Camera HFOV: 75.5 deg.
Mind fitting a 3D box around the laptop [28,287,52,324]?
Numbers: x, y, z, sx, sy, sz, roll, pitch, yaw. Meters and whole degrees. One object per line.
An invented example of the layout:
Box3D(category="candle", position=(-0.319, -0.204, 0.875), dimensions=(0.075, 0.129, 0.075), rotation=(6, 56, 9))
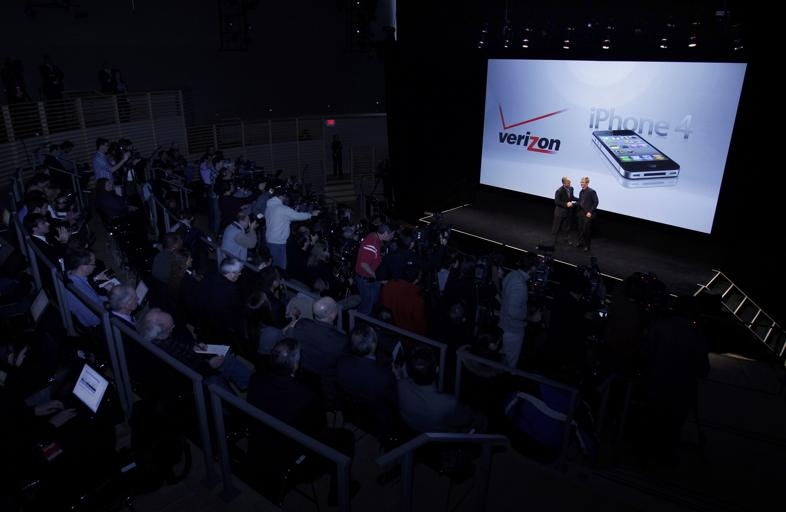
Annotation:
Box3D(category="laptop", position=(-4.520, 0.629, 6.500), dimensions=(0.085, 0.335, 0.356), rotation=(26, -4, -42))

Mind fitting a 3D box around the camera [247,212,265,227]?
Box3D(category="camera", position=(-2.740, -0.749, 10.255), dimensions=(0.308, 0.271, 0.338), rotation=(-45, 3, -8))

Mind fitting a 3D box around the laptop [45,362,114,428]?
Box3D(category="laptop", position=(-3.309, 1.578, 5.771), dimensions=(0.540, 0.629, 0.463), rotation=(19, 53, 13))
